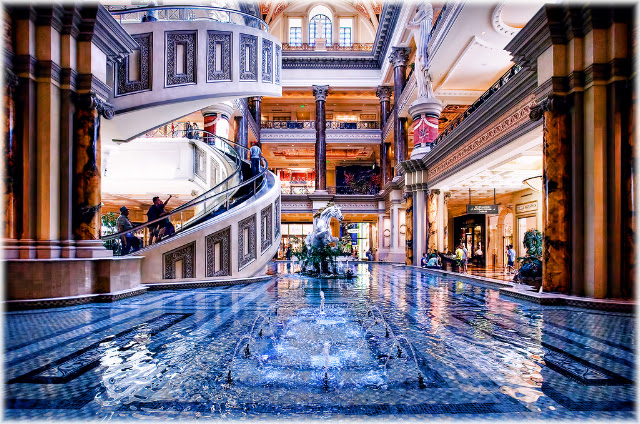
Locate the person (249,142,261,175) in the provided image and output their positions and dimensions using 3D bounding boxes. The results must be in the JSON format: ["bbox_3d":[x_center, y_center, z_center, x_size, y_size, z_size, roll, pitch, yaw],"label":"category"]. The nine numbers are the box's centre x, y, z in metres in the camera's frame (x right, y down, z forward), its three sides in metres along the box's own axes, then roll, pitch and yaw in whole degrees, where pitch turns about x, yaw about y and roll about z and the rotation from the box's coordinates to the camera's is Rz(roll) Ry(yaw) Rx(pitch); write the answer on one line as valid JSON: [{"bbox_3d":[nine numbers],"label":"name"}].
[{"bbox_3d":[-1.935,-1.552,13.954,0.282,0.953,1.064,-2,13,-7],"label":"person"}]

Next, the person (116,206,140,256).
[{"bbox_3d":[-4.693,0.408,11.227,0.424,1.076,2.018,-6,14,-24],"label":"person"}]
